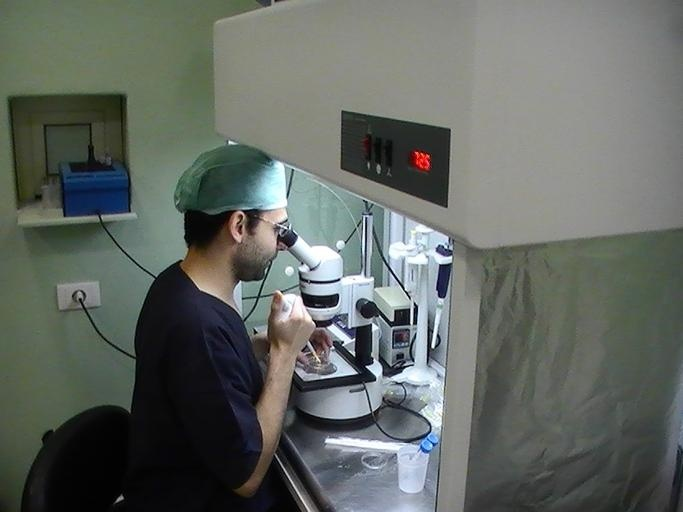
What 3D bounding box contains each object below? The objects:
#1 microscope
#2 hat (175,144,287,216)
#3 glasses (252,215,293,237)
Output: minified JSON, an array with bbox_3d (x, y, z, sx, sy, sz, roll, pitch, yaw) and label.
[{"bbox_3d":[-0.042,0.175,1.943,0.319,0.665,0.366,-5,13,-22],"label":"microscope"},{"bbox_3d":[-0.328,-0.251,1.764,0.271,0.223,0.283,-5,17,-37],"label":"hat"},{"bbox_3d":[-0.197,-0.086,1.728,0.077,0.027,0.062,25,0,7],"label":"glasses"}]
